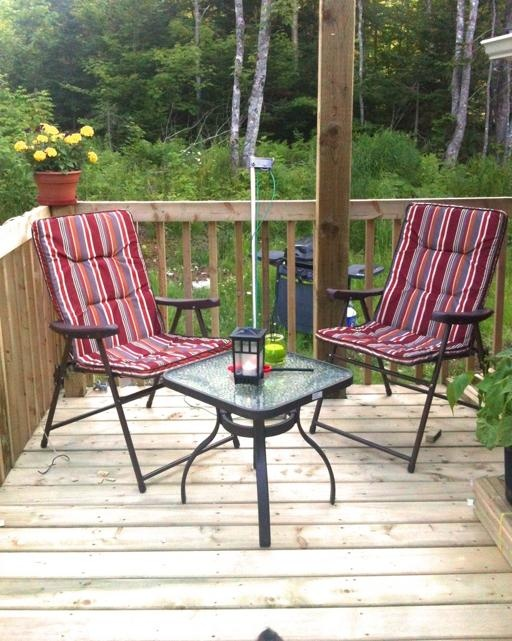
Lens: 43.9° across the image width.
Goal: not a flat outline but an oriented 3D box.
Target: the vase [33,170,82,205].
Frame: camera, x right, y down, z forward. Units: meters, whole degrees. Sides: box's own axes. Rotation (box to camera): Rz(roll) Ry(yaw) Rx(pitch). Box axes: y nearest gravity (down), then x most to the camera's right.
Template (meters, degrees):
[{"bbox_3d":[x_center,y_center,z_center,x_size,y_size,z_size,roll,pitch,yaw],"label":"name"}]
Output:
[{"bbox_3d":[-0.935,-0.621,2.999,0.201,0.119,0.183,-1,12,-8],"label":"vase"}]

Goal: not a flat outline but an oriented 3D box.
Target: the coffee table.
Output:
[{"bbox_3d":[0.026,0.333,2.243,0.622,0.522,0.620,11,18,41],"label":"coffee table"}]

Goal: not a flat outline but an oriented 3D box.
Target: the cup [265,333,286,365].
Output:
[{"bbox_3d":[0.067,0.101,2.327,0.110,0.088,0.101,1,1,0],"label":"cup"}]
